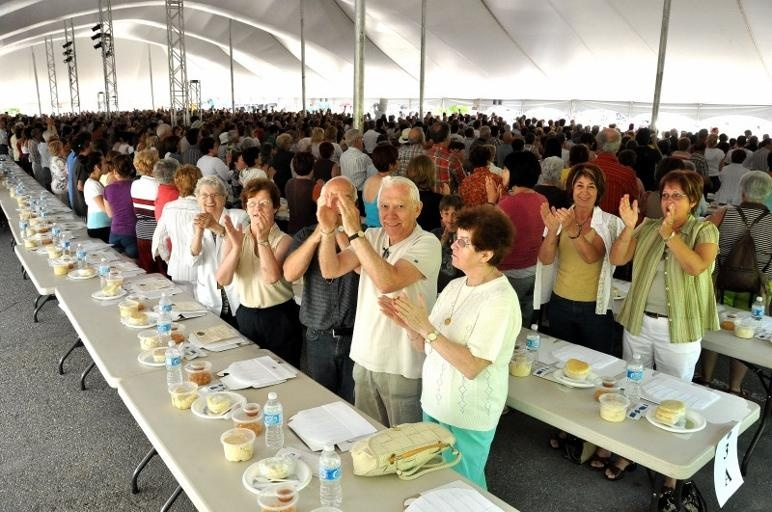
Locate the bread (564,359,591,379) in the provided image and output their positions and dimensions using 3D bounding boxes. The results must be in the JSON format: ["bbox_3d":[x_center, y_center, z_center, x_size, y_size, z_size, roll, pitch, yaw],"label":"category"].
[{"bbox_3d":[1.349,0.793,3.570,0.124,0.049,0.125,15,25,43],"label":"bread"}]

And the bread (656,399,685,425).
[{"bbox_3d":[1.777,0.968,3.163,0.157,0.116,0.149,11,18,33],"label":"bread"}]

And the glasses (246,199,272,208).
[{"bbox_3d":[-1.001,-0.422,4.003,0.200,0.066,0.112,-3,16,-12],"label":"glasses"}]

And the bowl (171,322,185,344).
[{"bbox_3d":[-1.649,0.606,4.021,0.116,0.094,0.127,4,16,-1],"label":"bowl"}]

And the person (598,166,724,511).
[{"bbox_3d":[2.142,0.523,3.967,0.811,2.351,0.942,9,17,29],"label":"person"}]

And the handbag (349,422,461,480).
[{"bbox_3d":[0.083,1.062,2.783,0.424,0.137,0.303,-8,20,-18],"label":"handbag"}]

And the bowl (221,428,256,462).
[{"bbox_3d":[-0.846,1.081,2.886,0.189,0.114,0.188,0,4,0],"label":"bowl"}]

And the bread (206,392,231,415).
[{"bbox_3d":[-1.059,0.929,3.178,0.156,0.093,0.115,-2,15,-10],"label":"bread"}]

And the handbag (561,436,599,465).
[{"bbox_3d":[1.577,1.587,4.167,0.268,0.187,0.159,14,20,40],"label":"handbag"}]

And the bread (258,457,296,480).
[{"bbox_3d":[-0.577,1.119,2.734,0.122,0.052,0.121,5,4,30],"label":"bread"}]

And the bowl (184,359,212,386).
[{"bbox_3d":[-1.287,0.798,3.483,0.171,0.122,0.215,-5,16,-21],"label":"bowl"}]

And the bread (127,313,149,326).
[{"bbox_3d":[-2.063,0.535,4.199,0.167,0.061,0.136,-7,17,-26],"label":"bread"}]

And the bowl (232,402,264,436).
[{"bbox_3d":[-0.831,1.006,3.083,0.224,0.154,0.224,-6,-6,-1],"label":"bowl"}]

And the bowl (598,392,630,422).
[{"bbox_3d":[1.451,0.957,3.217,0.163,0.120,0.163,-1,3,0],"label":"bowl"}]

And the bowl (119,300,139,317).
[{"bbox_3d":[-2.221,0.434,4.381,0.152,0.095,0.153,2,7,0],"label":"bowl"}]

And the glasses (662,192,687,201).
[{"bbox_3d":[2.169,-0.454,3.804,0.173,0.078,0.067,10,18,30],"label":"glasses"}]

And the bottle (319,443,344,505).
[{"bbox_3d":[-0.290,1.096,2.616,0.118,0.352,0.218,-1,15,-6],"label":"bottle"}]

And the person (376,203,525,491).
[{"bbox_3d":[0.442,0.590,3.082,0.680,1.756,0.485,5,16,18],"label":"person"}]

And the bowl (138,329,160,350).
[{"bbox_3d":[-1.816,0.639,3.895,0.143,0.093,0.143,1,3,0],"label":"bowl"}]

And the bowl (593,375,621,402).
[{"bbox_3d":[1.481,0.893,3.409,0.138,0.108,0.138,1,3,0],"label":"bowl"}]

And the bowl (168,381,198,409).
[{"bbox_3d":[-1.302,0.895,3.253,0.151,0.093,0.152,2,7,0],"label":"bowl"}]

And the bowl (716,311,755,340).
[{"bbox_3d":[2.949,0.581,4.251,0.215,0.051,0.214,-2,13,1],"label":"bowl"}]

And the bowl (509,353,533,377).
[{"bbox_3d":[0.988,0.791,3.702,0.142,0.092,0.144,1,4,0],"label":"bowl"}]
